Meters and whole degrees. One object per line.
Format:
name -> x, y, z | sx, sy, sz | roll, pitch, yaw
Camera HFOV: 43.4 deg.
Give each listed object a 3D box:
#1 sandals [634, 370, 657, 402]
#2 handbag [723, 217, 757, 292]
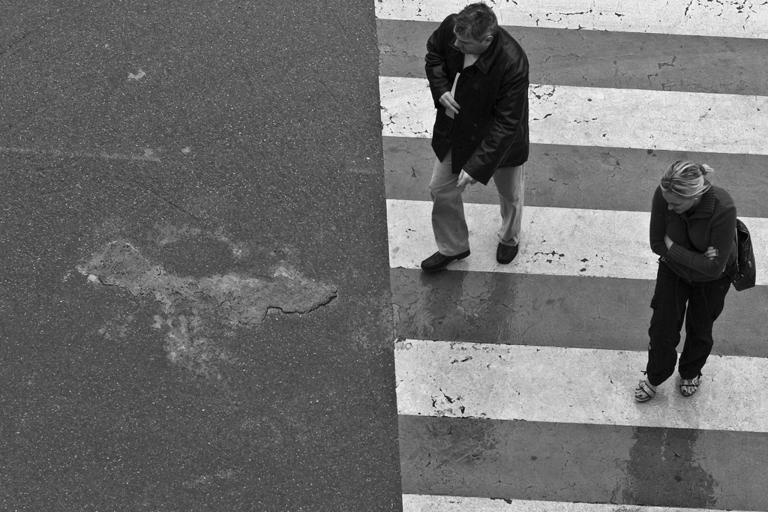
sandals -> 2.643, 1.380, 9.815 | 0.179, 0.140, 0.353 | 23, 64, 24
handbag -> 3.347, 0.021, 9.116 | 0.243, 0.618, 0.467 | -10, 39, 10
